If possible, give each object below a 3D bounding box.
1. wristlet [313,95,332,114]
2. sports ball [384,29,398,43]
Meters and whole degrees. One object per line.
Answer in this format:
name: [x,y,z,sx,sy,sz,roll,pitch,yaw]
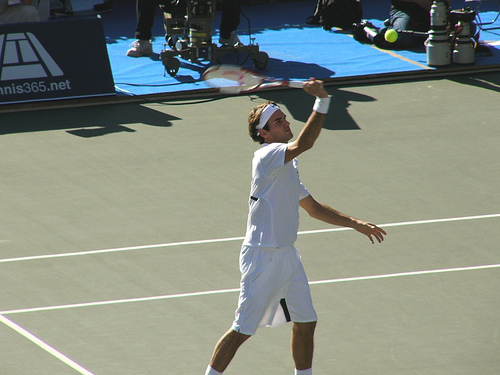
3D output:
wristlet: [0.915,-1.085,15.374,0.222,0.210,0.235,20,11,31]
sports ball: [3.119,-3.368,26.293,0.347,0.249,0.301,-12,-4,39]
